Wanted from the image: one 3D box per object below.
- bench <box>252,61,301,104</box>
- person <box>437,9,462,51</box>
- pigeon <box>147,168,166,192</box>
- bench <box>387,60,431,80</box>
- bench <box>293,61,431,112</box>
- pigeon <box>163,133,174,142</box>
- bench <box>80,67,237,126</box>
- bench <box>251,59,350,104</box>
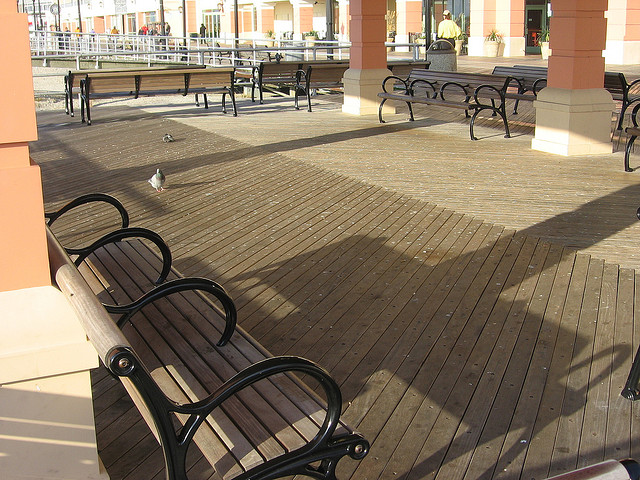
[{"bbox_3d":[-1.186,-4.589,13.753,0.664,0.896,1.701,3,17,41],"label":"bench"},{"bbox_3d":[5.752,-9.046,21.177,1.109,2.260,0.856,14,54,26],"label":"person"},{"bbox_3d":[-2.265,-0.845,6.653,0.175,0.322,0.295,-9,21,-19],"label":"pigeon"},{"bbox_3d":[2.392,-4.711,13.144,1.592,0.507,0.451,-26,45,-39],"label":"bench"},{"bbox_3d":[1.392,-4.699,14.471,4.506,1.463,1.249,-10,16,-23],"label":"bench"},{"bbox_3d":[-3.018,-2.060,9.500,0.149,0.086,0.198,13,18,-1],"label":"pigeon"},{"bbox_3d":[-4.037,-3.629,11.896,3.626,1.226,0.754,-10,21,-23],"label":"bench"},{"bbox_3d":[-0.807,-4.584,13.821,3.098,1.206,1.843,5,20,17],"label":"bench"}]
